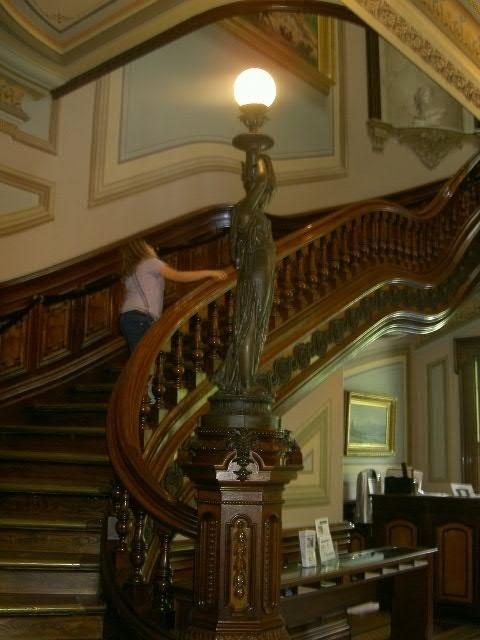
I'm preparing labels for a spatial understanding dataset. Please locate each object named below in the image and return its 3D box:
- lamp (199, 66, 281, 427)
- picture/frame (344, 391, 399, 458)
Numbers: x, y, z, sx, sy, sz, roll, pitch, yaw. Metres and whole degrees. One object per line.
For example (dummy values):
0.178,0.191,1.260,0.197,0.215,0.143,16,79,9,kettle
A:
0.020,-0.305,1.977,0.225,1.340,0.300,-1,-12,3,lamp
1.488,1.194,6.448,0.095,0.697,0.831,12,-13,-32,picture/frame
